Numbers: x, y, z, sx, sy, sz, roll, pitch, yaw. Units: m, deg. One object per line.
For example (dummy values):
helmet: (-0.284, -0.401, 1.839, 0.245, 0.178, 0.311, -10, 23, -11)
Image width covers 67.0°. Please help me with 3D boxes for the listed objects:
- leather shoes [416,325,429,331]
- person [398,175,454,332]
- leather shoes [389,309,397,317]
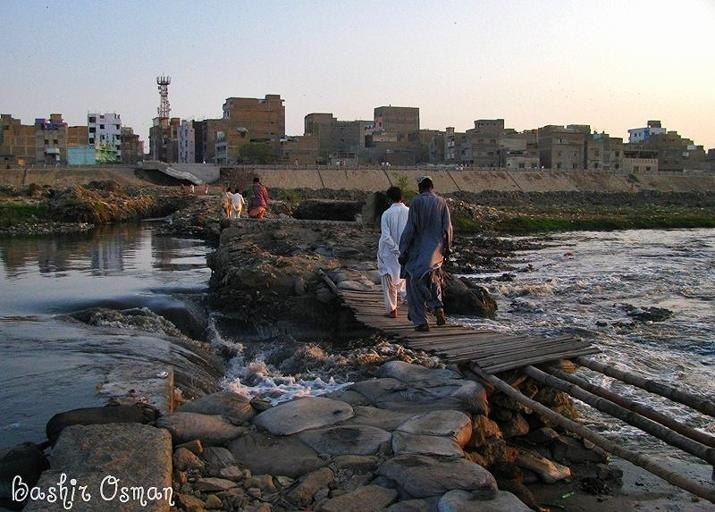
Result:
leather shoes: (0.870, 0.950, 7.085, 0.151, 0.130, 0.078, -3, 8, 1)
person: (0.894, -0.030, 7.198, 0.668, 2.025, 0.794, 0, 13, 24)
leather shoes: (0.535, 0.849, 7.868, 0.084, 0.115, 0.122, 0, -1, -3)
